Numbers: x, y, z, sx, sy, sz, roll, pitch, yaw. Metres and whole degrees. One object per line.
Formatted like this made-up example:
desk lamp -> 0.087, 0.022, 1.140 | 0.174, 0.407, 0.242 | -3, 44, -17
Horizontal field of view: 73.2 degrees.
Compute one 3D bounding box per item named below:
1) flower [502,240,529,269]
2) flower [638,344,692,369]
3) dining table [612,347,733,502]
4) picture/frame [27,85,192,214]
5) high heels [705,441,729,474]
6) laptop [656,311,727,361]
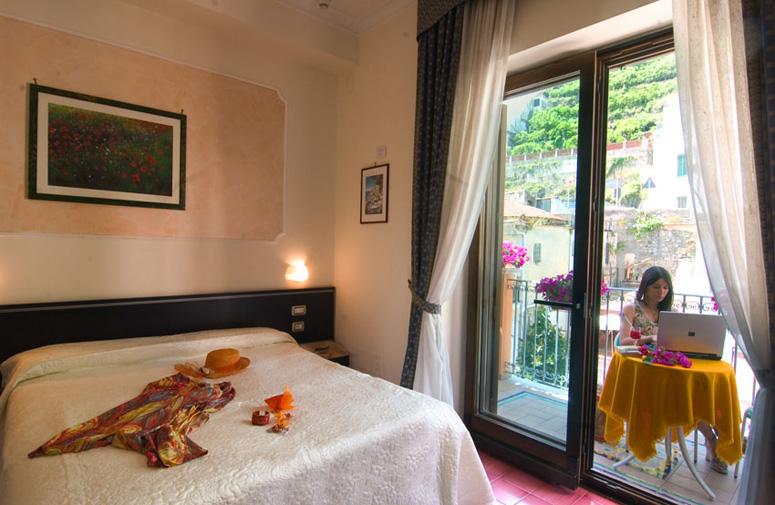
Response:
flower -> 1.105, 0.028, 4.514 | 0.211, 0.168, 0.211 | 3, 2, -28
flower -> 2.094, 0.788, 3.960 | 0.179, 0.091, 0.240 | -1, 6, -7
dining table -> 2.164, 1.187, 4.132 | 1.028, 0.953, 1.041 | 4, -6, -33
picture/frame -> -2.408, -0.879, 4.398 | 1.191, 0.943, 0.056 | -1, 5, -34
high heels -> 2.637, 1.671, 4.237 | 0.126, 0.149, 0.375 | -1, -3, 2
laptop -> 2.355, 0.629, 4.017 | 0.487, 0.342, 0.346 | 2, -3, 17
